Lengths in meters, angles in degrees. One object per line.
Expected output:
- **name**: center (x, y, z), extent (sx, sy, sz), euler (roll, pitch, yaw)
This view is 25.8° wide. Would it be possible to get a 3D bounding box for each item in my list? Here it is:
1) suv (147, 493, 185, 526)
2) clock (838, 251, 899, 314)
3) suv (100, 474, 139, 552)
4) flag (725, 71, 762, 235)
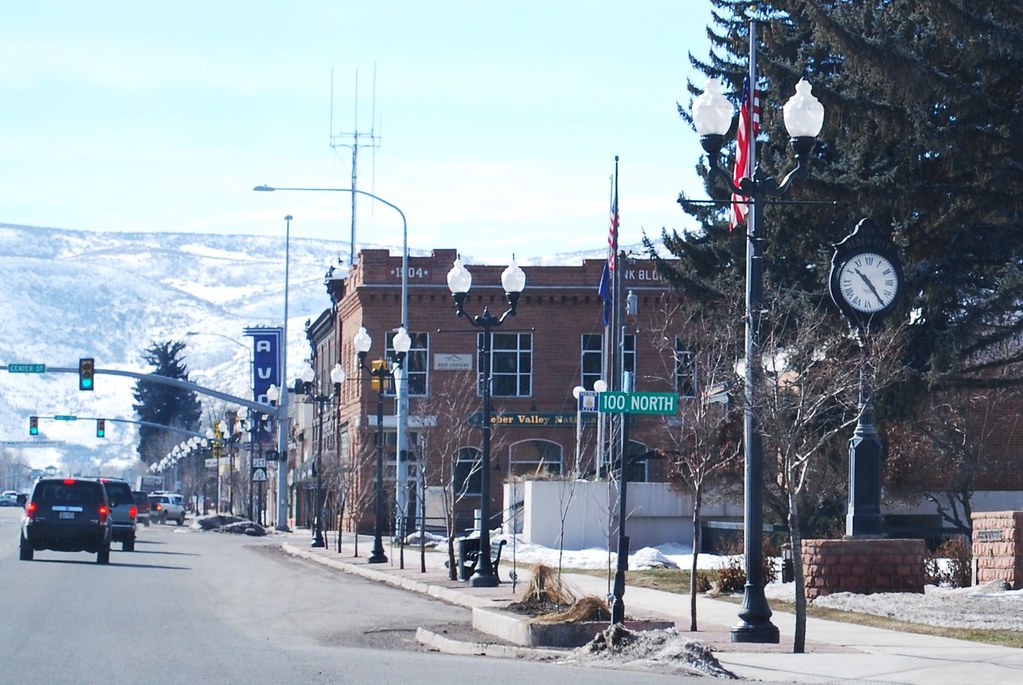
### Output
- **suv**: center (-19.052, 9.326, 124.466), extent (1.187, 1.292, 2.312), euler (-1, 1, 11)
- **clock**: center (9.583, -1.666, 59.749), extent (1.532, 1.625, 0.319), euler (0, -8, 7)
- **suv**: center (-13.125, 5.780, 75.694), extent (1.148, 1.465, 2.666), euler (1, 6, -6)
- **flag**: center (6.459, -5.449, 59.965), extent (1.347, 5.458, 1.213), euler (1, -1, 0)
